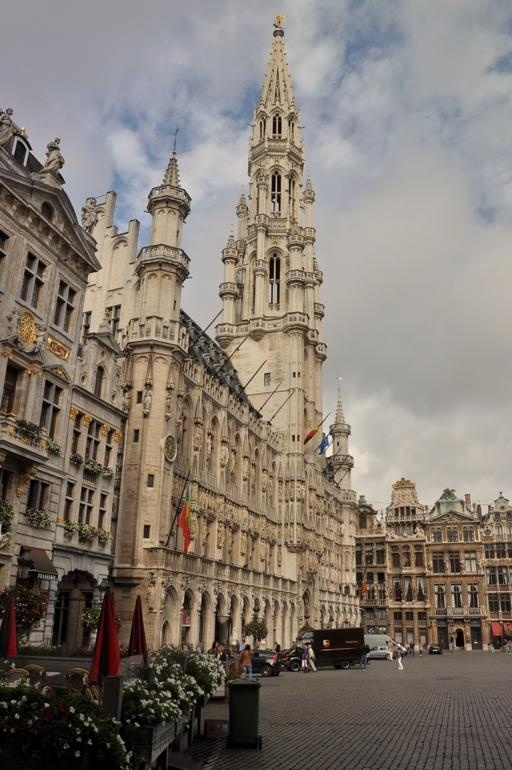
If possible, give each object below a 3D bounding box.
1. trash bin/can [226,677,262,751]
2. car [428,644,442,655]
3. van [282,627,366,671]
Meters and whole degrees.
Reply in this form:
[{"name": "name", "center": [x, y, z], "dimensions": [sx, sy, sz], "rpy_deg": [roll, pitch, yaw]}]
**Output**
[{"name": "trash bin/can", "center": [-0.195, 5.859, 10.837], "dimensions": [0.605, 1.075, 0.689], "rpy_deg": [1, -22, -2]}, {"name": "car", "center": [23.419, 34.812, 80.163], "dimensions": [1.458, 1.058, 2.266], "rpy_deg": [-5, -23, 12]}, {"name": "van", "center": [5.207, 19.898, 46.170], "dimensions": [6.265, 3.156, 3.041], "rpy_deg": [3, -24, 0]}]
